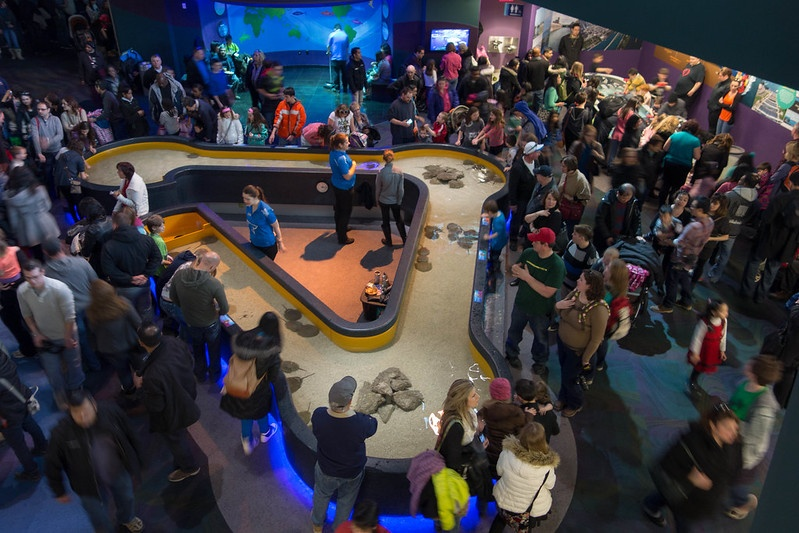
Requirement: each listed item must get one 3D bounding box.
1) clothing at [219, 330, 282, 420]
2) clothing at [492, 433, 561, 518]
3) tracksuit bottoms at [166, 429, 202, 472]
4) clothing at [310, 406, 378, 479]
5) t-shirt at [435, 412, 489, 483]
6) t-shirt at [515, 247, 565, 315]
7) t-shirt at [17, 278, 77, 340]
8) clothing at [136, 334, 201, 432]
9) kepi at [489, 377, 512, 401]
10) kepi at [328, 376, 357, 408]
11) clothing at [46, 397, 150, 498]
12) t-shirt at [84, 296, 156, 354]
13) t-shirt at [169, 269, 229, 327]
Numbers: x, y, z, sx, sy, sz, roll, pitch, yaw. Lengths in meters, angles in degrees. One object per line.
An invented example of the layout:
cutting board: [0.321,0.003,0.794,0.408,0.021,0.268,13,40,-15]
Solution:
clothing: [-1.580,1.236,5.186,0.624,1.211,0.289,-6,26,-21]
clothing: [1.139,1.926,4.506,0.558,0.703,0.412,10,16,23]
tracksuit bottoms: [-2.454,2.101,5.526,0.315,0.684,0.187,1,53,0]
clothing: [-0.516,1.640,4.677,0.668,0.714,0.484,4,18,8]
t-shirt: [0.604,1.746,4.604,0.421,0.655,0.581,-1,-10,14]
t-shirt: [1.692,0.177,6.064,0.426,0.762,0.684,-16,29,-36]
t-shirt: [-4.049,0.488,5.656,0.622,0.799,0.304,4,31,-4]
clothing: [-2.485,1.261,5.182,0.591,1.188,0.566,35,56,-3]
kepi: [0.962,1.176,4.763,0.220,0.217,0.224,-3,36,5]
kepi: [-0.506,1.114,4.372,0.198,0.256,0.234,7,24,5]
clothing: [-2.852,1.745,4.580,0.857,0.764,0.458,-5,9,-30]
t-shirt: [-3.238,0.688,5.567,0.602,0.556,0.326,-38,38,-17]
t-shirt: [-2.442,0.352,5.990,0.762,0.698,0.403,11,28,6]
